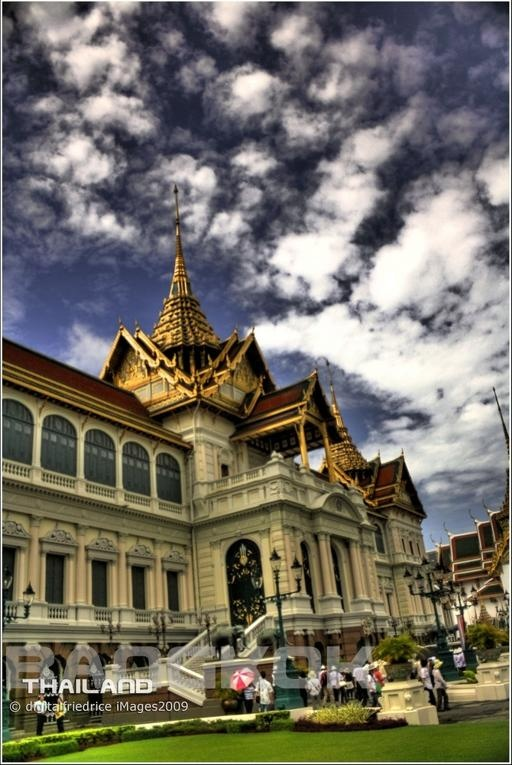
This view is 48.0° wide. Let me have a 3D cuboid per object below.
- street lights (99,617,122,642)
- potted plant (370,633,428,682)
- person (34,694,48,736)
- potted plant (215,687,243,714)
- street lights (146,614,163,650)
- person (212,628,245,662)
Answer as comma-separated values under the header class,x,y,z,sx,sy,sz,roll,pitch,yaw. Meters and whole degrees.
class,x,y,z,sx,sy,sz,roll,pitch,yaw
street lights,-5.401,9.263,21.418,0.426,0.789,1.078,-10,-23,3
potted plant,3.214,6.109,12.761,1.198,1.107,1.218,-9,-29,21
person,-5.955,9.230,15.938,0.288,0.966,2.051,0,-25,-20
potted plant,-0.852,9.879,17.833,0.753,0.777,0.715,-14,-32,21
street lights,-4.129,10.225,23.514,0.488,1.467,0.834,-3,-24,-12
person,-1.036,9.383,20.843,1.526,1.221,0.763,4,-17,-18
